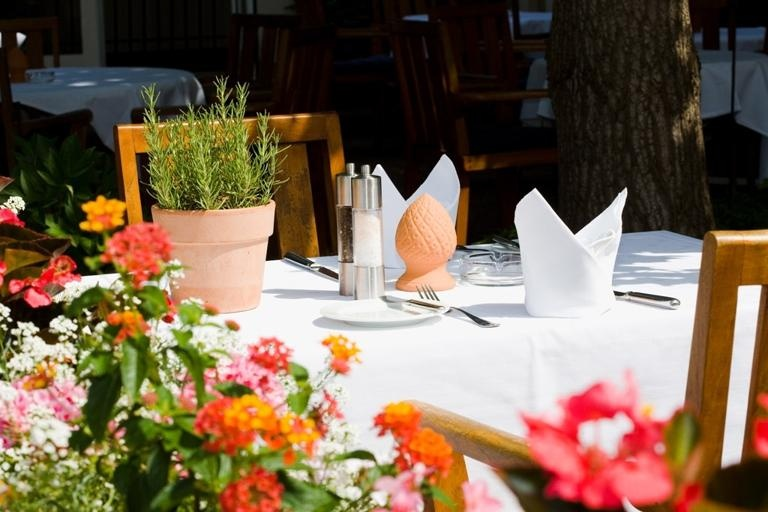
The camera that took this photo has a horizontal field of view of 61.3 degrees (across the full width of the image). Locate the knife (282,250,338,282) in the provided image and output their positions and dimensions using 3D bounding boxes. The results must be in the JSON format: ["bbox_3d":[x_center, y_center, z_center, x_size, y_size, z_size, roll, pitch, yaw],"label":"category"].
[{"bbox_3d":[-0.150,0.019,1.317,0.043,0.025,0.223,-15,19,-24],"label":"knife"}]

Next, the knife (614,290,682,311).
[{"bbox_3d":[0.432,0.075,1.075,0.017,0.016,0.088,-4,9,-41],"label":"knife"}]

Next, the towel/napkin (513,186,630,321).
[{"bbox_3d":[0.294,0.000,1.122,0.201,0.216,0.197,-11,10,-40],"label":"towel/napkin"}]

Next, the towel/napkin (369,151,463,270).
[{"bbox_3d":[0.092,-0.115,1.408,0.226,0.259,0.182,5,10,33],"label":"towel/napkin"}]
